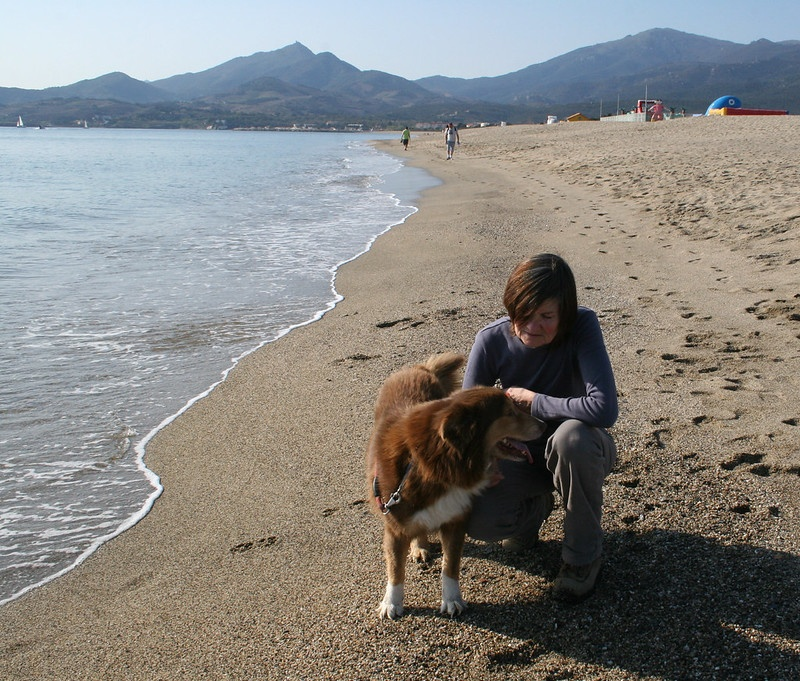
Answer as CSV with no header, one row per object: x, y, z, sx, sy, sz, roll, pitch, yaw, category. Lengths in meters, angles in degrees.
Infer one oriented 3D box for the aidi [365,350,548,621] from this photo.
0.155,0.795,3.634,0.634,1.108,2.150,3,-1,-7,aidi

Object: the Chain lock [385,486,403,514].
-0.027,0.701,2.860,0.030,0.136,0.056,-28,75,-37,Chain lock

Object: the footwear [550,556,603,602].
0.859,1.078,3.075,0.111,0.117,0.282,15,37,40,footwear

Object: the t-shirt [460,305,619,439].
0.704,0.116,3.211,0.797,0.538,0.434,2,19,28,t-shirt
